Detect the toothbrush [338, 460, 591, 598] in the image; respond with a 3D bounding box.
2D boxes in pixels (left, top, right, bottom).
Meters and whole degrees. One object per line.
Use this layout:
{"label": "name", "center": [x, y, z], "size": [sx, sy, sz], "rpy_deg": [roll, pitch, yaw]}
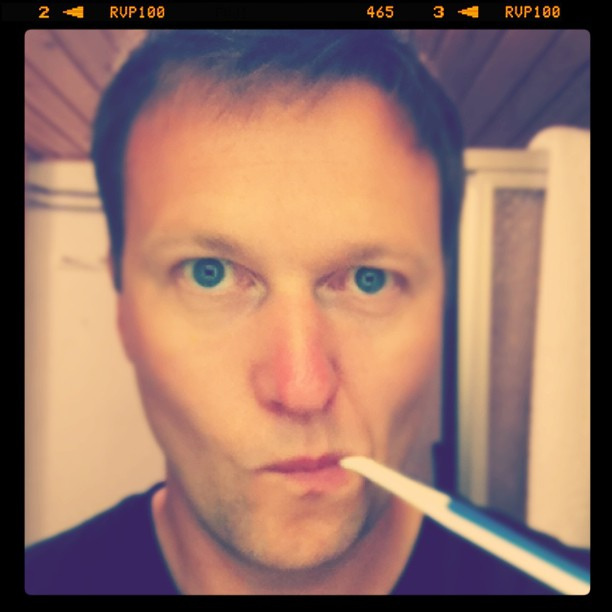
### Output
{"label": "toothbrush", "center": [0.317, 0.417, 1.456], "size": [0.497, 0.054, 0.054], "rpy_deg": [24, 97, -1]}
